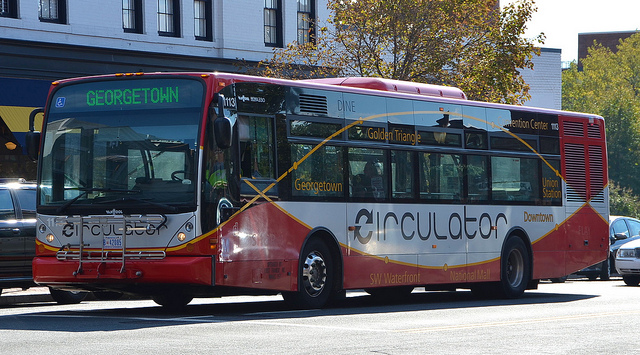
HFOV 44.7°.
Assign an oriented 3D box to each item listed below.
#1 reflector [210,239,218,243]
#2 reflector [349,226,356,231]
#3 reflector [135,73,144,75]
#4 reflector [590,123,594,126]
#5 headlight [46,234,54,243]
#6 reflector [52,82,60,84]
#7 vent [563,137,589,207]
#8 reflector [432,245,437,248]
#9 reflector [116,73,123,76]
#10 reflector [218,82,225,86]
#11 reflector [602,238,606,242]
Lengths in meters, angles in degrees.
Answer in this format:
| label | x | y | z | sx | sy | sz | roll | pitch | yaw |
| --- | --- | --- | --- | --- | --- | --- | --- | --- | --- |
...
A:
| label | x | y | z | sx | sy | sz | roll | pitch | yaw |
| --- | --- | --- | --- | --- | --- | --- | --- | --- | --- |
| reflector | -2.342 | 1.398 | 17.110 | 0.129 | 0.056 | 0.066 | 1 | -1 | 2 |
| reflector | 0.777 | 1.252 | 19.167 | 0.130 | 0.079 | 0.073 | 1 | 1 | -38 |
| reflector | -4.138 | -2.334 | 17.714 | 0.245 | 0.044 | 0.113 | 13 | 8 | 37 |
| reflector | 8.445 | -1.631 | 24.266 | 0.121 | 0.046 | 0.039 | 12 | -15 | -43 |
| headlight | -6.139 | 1.374 | 17.689 | 0.180 | 0.161 | 0.039 | -2 | 2 | -6 |
| reflector | -6.168 | -2.195 | 18.178 | 0.082 | 0.027 | 0.086 | -3 | -5 | 35 |
| vent | 7.589 | -0.109 | 23.988 | 0.823 | 2.119 | 0.784 | 4 | -1 | -32 |
| reflector | 3.000 | 1.821 | 20.619 | 0.100 | 0.089 | 0.025 | 0 | 0 | -8 |
| reflector | -4.611 | -2.337 | 17.858 | 0.140 | 0.072 | 0.249 | 6 | 7 | -13 |
| reflector | -2.223 | -2.068 | 17.435 | 0.158 | 0.079 | 0.036 | 1 | 11 | -45 |
| reflector | 8.806 | 1.944 | 24.251 | 0.074 | 0.175 | 0.217 | -1 | -2 | 43 |
